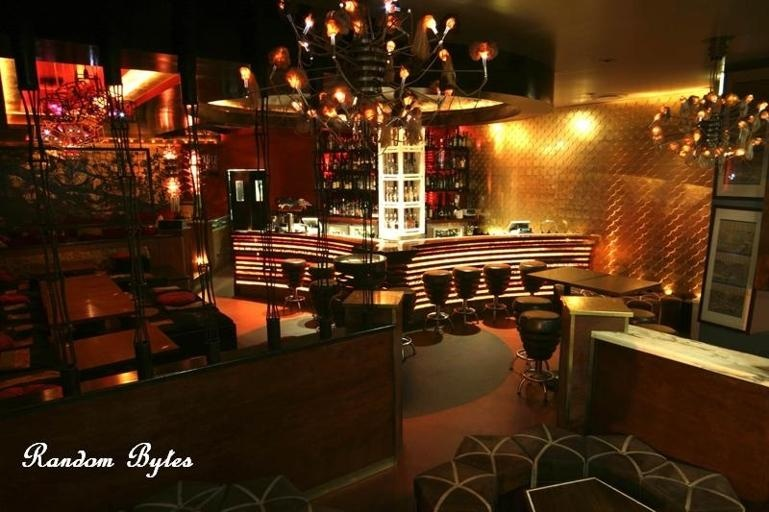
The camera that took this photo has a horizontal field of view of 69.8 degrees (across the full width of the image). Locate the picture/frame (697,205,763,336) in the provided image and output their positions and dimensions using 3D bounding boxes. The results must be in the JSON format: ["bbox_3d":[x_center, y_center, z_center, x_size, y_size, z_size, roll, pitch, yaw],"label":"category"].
[{"bbox_3d":[4.631,0.174,7.395,0.209,1.579,0.708,-7,12,-24],"label":"picture/frame"}]

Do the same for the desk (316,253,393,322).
[{"bbox_3d":[-0.396,0.390,6.579,0.952,0.873,0.935,3,8,8],"label":"desk"}]
